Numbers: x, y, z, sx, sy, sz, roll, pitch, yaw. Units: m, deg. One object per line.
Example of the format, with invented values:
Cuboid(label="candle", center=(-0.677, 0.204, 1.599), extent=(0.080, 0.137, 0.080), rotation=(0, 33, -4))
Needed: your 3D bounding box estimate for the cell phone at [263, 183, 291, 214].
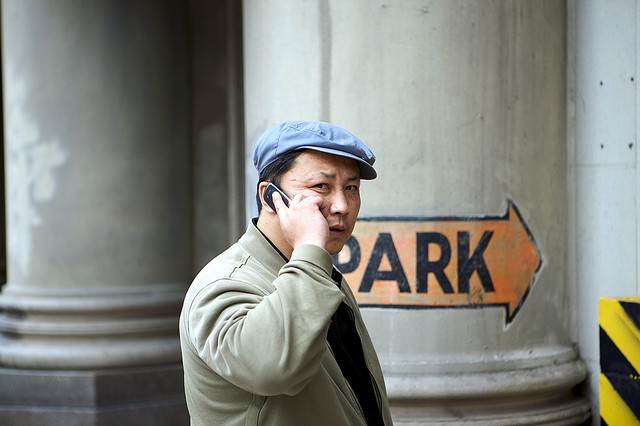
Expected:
Cuboid(label="cell phone", center=(-0.302, -0.098, 5.865), extent=(0.216, 0.121, 0.050), rotation=(46, 32, 16))

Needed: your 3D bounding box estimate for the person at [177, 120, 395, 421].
Cuboid(label="person", center=(-0.239, 0.451, 5.754), extent=(1.438, 2.137, 0.808), rotation=(-1, 6, -11))
